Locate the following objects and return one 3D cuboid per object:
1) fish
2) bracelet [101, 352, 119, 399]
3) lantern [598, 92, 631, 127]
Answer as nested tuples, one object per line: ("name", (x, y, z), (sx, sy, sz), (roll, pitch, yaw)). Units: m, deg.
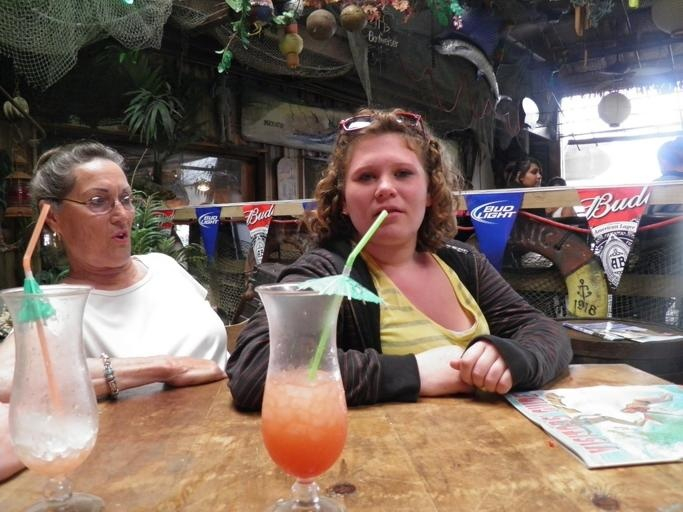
("fish", (1.961, -2.517, 7.251), (0.531, 0.777, 2.439), (6, 13, 29))
("bracelet", (-0.808, 0.422, 1.768), (0.040, 0.135, 0.102), (-19, 41, -25))
("lantern", (4.390, -2.298, 8.127), (0.502, 0.596, 0.495), (-4, 6, -41))
